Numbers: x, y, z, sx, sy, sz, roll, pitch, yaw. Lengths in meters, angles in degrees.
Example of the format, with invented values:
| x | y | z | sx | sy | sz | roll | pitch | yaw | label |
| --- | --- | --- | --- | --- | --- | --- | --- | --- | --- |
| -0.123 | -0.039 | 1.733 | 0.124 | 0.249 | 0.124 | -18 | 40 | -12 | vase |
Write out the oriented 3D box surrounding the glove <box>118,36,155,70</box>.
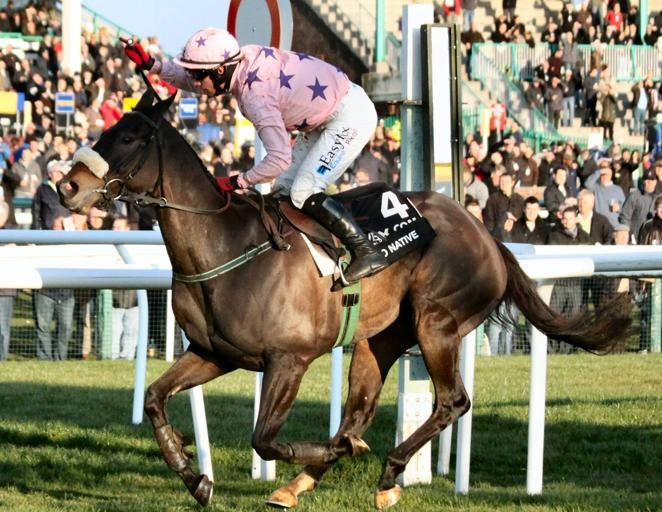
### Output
| x | y | z | sx | sy | sz | roll | pitch | yaw | label |
| --- | --- | --- | --- | --- | --- | --- | --- | --- | --- |
| -1.328 | -1.326 | 10.438 | 0.154 | 0.282 | 0.075 | -46 | 12 | -22 | glove |
